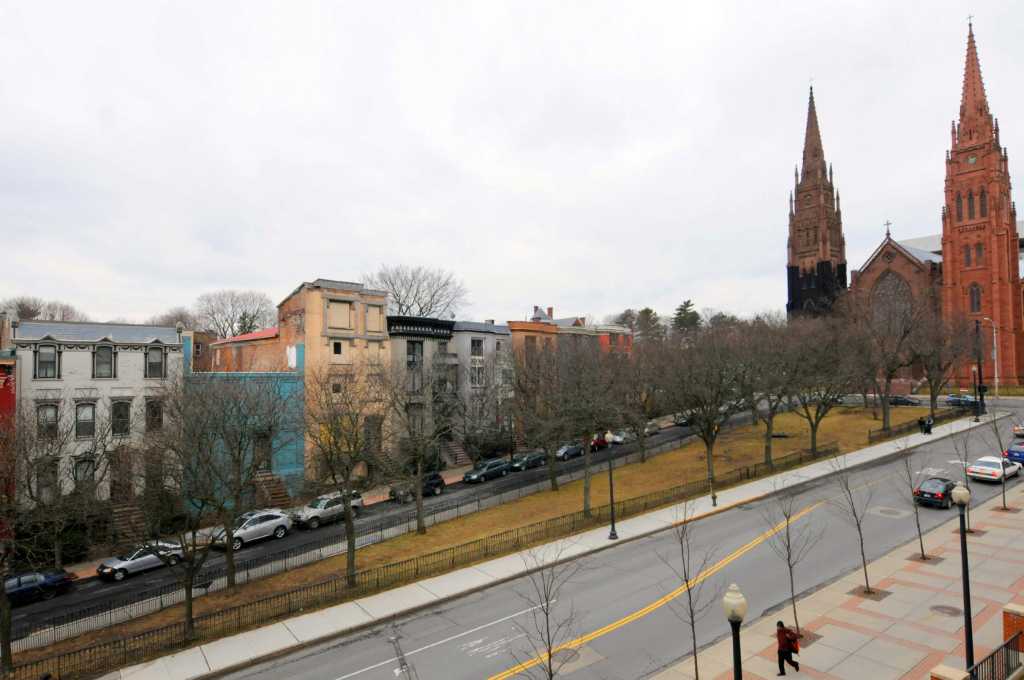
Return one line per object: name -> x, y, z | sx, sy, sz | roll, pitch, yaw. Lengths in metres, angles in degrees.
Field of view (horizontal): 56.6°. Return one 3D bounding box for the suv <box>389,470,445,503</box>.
suv -> -7.603, 12.610, 80.271 | 4.331, 1.867, 2.309 | 5, -8, -31
